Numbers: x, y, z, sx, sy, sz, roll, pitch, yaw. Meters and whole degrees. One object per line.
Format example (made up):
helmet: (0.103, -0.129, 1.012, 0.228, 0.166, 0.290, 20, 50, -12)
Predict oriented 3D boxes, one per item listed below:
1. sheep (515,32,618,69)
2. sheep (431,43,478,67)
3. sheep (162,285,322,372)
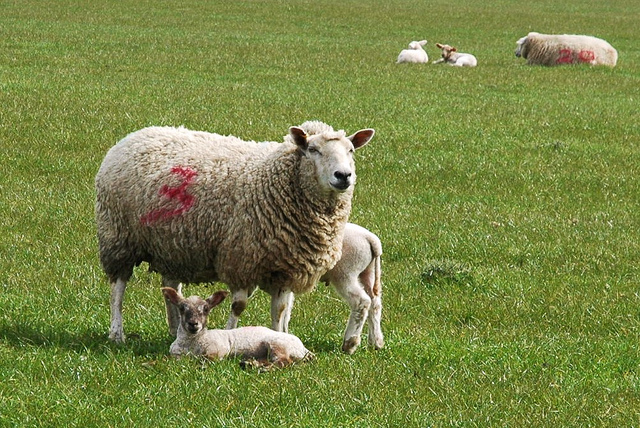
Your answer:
sheep: (10.532, -6.952, 46.043, 4.063, 1.342, 1.665, 9, 17, 11)
sheep: (5.821, -6.900, 46.869, 1.930, 0.875, 1.272, 14, 11, 17)
sheep: (-1.787, 2.382, 22.760, 3.235, 1.507, 1.135, 5, 17, -3)
